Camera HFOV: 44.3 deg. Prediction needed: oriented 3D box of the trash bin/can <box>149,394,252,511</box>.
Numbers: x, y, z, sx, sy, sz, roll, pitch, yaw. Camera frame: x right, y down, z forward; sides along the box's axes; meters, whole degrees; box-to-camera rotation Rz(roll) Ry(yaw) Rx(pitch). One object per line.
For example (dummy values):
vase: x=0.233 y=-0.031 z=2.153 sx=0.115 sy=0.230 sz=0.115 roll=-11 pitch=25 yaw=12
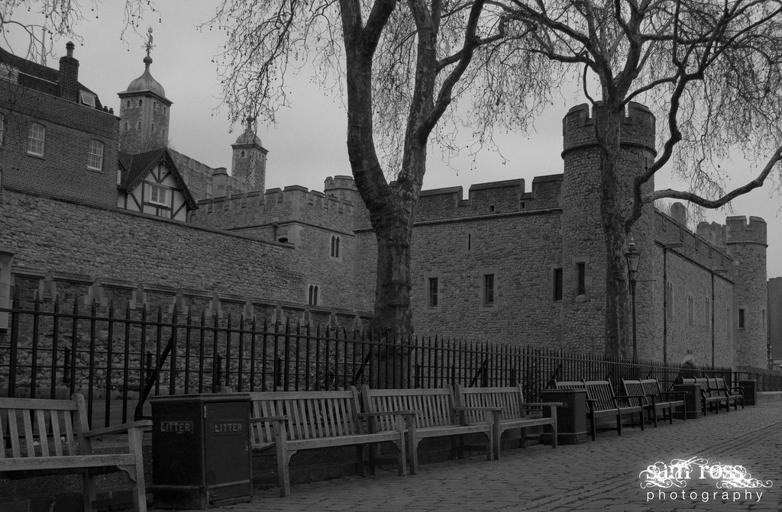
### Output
trash bin/can: x=-3.189 y=3.380 z=16.133 sx=1.624 sy=2.238 sz=2.107 roll=-1 pitch=-4 yaw=-11
